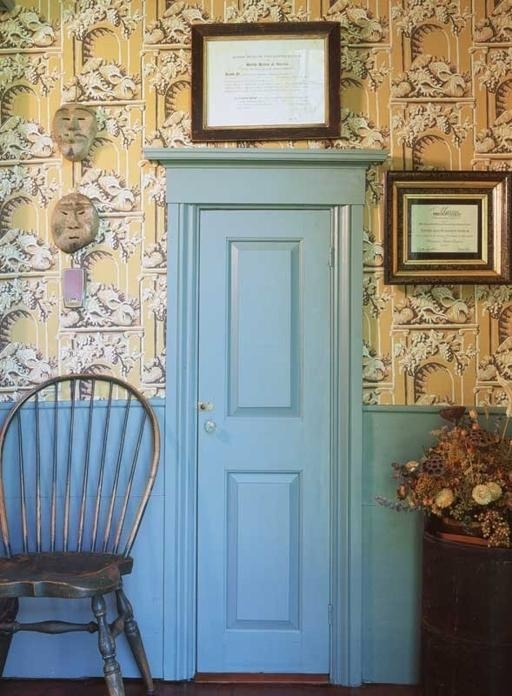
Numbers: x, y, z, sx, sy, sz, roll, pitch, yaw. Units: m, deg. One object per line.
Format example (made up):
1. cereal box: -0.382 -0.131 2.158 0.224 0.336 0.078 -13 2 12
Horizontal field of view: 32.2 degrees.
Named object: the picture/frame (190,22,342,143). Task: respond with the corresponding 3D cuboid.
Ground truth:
1. picture/frame: 0.043 -0.954 3.180 0.448 0.334 0.035 0 -3 2
